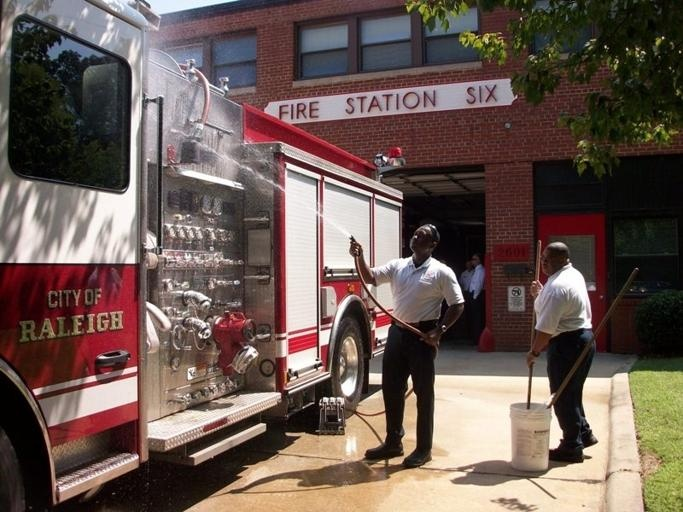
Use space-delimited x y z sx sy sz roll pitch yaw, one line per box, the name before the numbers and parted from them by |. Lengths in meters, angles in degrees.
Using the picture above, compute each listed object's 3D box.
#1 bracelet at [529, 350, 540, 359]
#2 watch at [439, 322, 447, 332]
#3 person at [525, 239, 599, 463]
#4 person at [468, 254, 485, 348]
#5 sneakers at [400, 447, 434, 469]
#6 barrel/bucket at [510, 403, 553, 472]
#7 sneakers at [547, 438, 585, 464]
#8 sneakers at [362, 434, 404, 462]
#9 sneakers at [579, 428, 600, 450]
bracelet | 1.786 0.917 5.569 0.085 0.041 0.100 3 -3 -29
watch | 0.947 0.671 5.617 0.055 0.096 0.078 -8 -11 36
person | 2.133 0.905 5.805 0.573 2.155 0.912 -1 -3 24
person | 3.112 0.965 13.793 0.364 2.079 0.986 0 -3 11
sneakers | 0.710 1.923 5.633 0.113 0.138 0.316 -12 -19 38
barrel/bucket | 1.748 1.668 5.572 0.367 0.599 0.361 -1 2 0
sneakers | 2.179 1.899 5.842 0.315 0.234 0.159 0 -3 25
sneakers | 0.426 1.937 5.990 0.423 0.318 0.161 6 -7 -20
sneakers | 2.491 1.853 6.037 0.164 0.188 0.223 -14 -20 17
